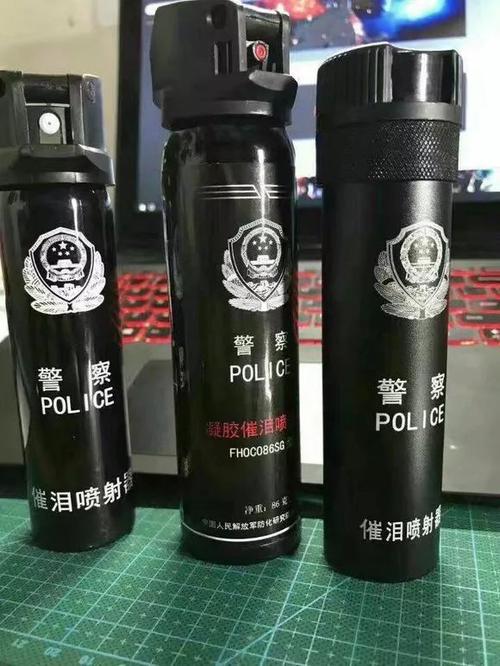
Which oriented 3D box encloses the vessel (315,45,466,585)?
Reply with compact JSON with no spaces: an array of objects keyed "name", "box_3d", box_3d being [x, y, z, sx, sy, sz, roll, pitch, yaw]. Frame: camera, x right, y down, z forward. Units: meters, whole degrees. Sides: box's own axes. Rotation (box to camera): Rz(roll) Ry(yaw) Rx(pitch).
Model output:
[{"name":"vessel","box_3d":[0.105,0.000,0.452,0.106,0.401,0.085,0,7,7]}]
